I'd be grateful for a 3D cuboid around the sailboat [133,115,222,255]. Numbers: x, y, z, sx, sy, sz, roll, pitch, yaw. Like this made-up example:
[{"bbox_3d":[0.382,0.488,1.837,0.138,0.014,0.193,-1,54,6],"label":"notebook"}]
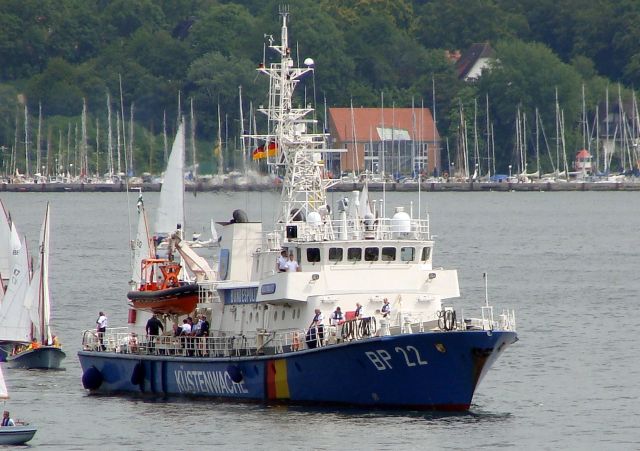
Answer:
[{"bbox_3d":[-12.516,-3.437,159.041,4.629,16.165,3.149,1,10,-6],"label":"sailboat"}]
